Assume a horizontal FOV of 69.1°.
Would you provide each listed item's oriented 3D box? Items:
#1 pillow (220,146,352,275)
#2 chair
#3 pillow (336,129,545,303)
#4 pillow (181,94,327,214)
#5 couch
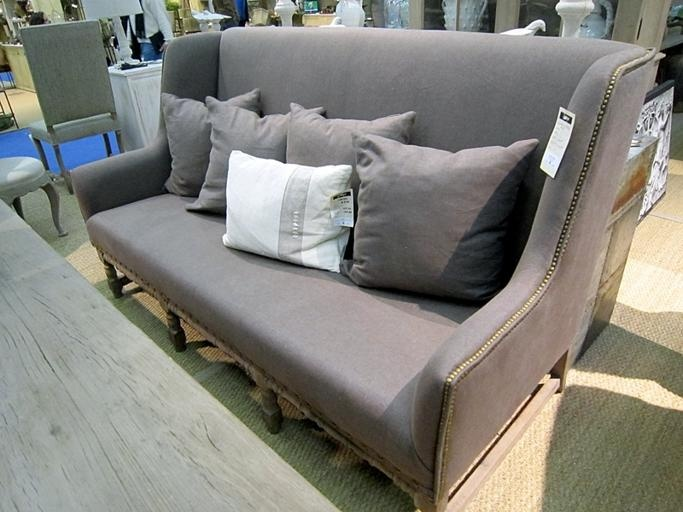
[{"bbox_3d":[-0.227,-0.164,1.857,0.493,0.391,0.196,12,23,20],"label":"pillow"},{"bbox_3d":[-1.899,-1.097,3.550,0.645,1.094,0.633,17,34,28],"label":"chair"},{"bbox_3d":[0.262,-0.120,1.605,0.533,0.505,0.284,9,22,23],"label":"pillow"},{"bbox_3d":[-0.383,-0.408,2.147,0.398,0.442,0.162,9,8,-26],"label":"pillow"},{"bbox_3d":[0.122,0.046,1.582,1.315,0.922,0.733,21,35,34],"label":"couch"}]
